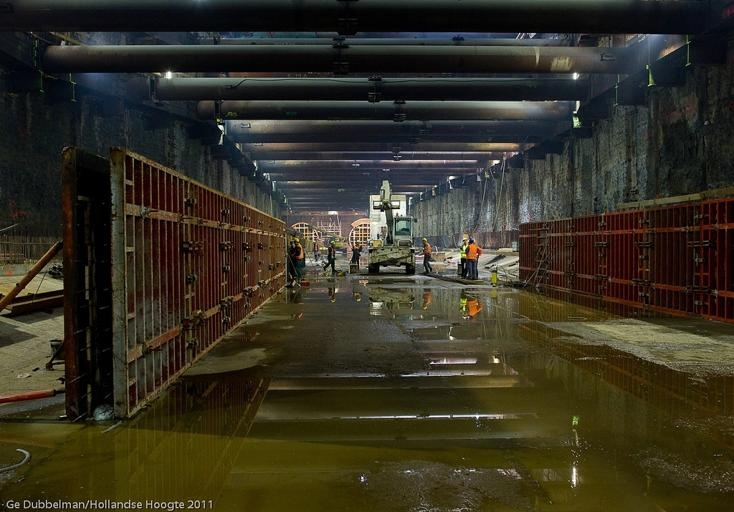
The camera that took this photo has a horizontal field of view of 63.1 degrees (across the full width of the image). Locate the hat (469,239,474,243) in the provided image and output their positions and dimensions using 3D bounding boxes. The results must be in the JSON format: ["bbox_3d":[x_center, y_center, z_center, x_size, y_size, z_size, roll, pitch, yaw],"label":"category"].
[{"bbox_3d":[4.738,-0.699,26.998,0.142,0.181,0.191,-1,-3,37],"label":"hat"}]

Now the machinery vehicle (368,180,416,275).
[{"bbox_3d":[1.324,-1.440,32.887,2.612,4.241,7.750,0,-3,5],"label":"machinery vehicle"}]
